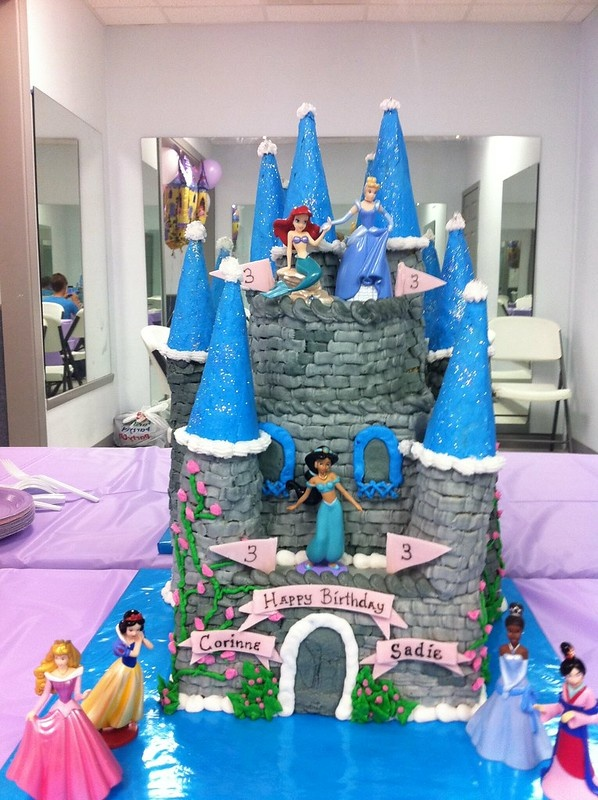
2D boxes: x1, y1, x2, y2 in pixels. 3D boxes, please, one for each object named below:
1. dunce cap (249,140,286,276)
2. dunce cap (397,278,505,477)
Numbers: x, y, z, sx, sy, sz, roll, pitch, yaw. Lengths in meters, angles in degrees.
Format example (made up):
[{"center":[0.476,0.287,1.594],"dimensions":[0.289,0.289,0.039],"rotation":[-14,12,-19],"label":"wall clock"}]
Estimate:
[{"center":[-0.060,-0.447,1.425],"dimensions":[0.133,0.227,0.132],"rotation":[13,36,10],"label":"dunce cap"},{"center":[0.253,-0.035,1.036],"dimensions":[0.155,0.291,0.150],"rotation":[12,17,39],"label":"dunce cap"}]
